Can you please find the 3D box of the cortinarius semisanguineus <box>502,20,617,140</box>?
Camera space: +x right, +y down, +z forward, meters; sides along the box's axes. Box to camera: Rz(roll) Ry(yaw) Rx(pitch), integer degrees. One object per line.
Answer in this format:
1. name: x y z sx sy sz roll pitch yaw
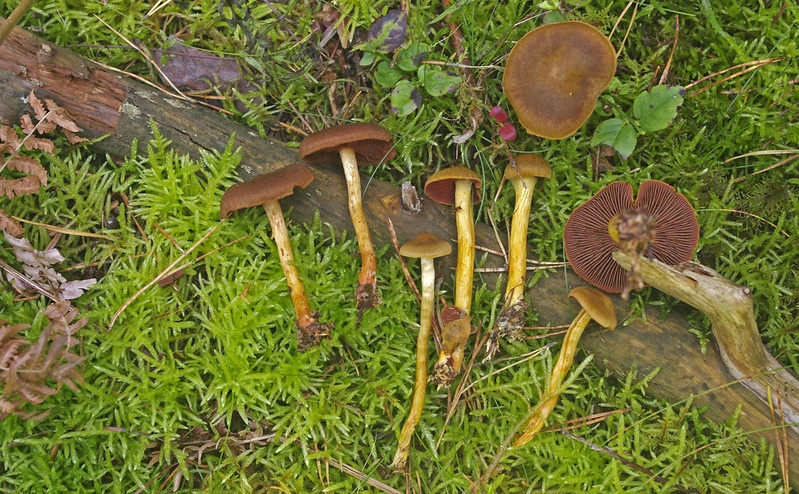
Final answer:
1. cortinarius semisanguineus: 1.398 -1.536 5.841 0.896 0.321 1.007 36 81 7
